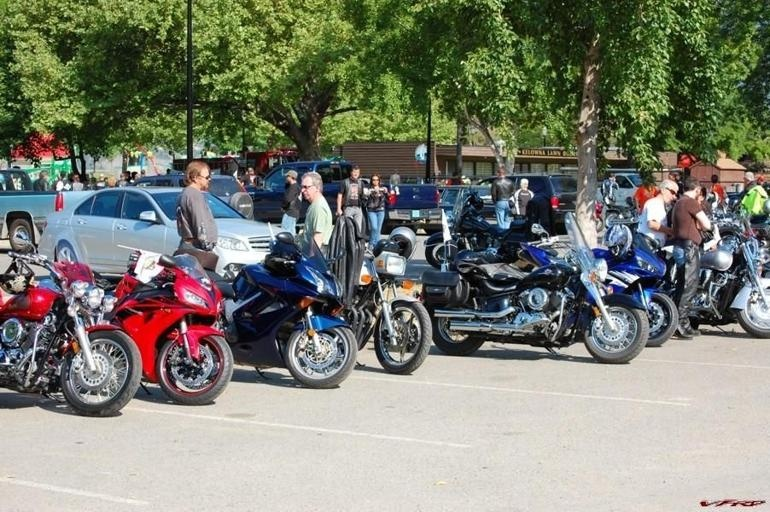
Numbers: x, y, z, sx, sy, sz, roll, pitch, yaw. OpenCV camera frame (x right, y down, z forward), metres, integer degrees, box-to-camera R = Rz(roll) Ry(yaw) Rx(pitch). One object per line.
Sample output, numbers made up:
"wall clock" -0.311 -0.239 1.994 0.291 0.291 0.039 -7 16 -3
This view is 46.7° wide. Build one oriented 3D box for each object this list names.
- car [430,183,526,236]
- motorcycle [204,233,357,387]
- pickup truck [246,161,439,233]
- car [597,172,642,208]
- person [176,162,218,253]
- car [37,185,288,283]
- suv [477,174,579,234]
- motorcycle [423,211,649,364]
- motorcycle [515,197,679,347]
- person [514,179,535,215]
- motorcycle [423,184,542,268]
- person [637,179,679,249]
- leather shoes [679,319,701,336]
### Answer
"car" 3.167 -1.573 29.659 2.721 1.291 1.646 2 1 -1
"motorcycle" -1.717 0.631 11.550 2.994 1.787 1.021 4 -9 30
"pickup truck" -1.220 -2.110 30.430 5.855 2.202 2.757 2 2 17
"car" 9.361 -2.478 34.065 1.262 1.382 2.442 -4 8 -28
"person" -2.749 -0.746 13.214 0.513 1.297 0.744 -6 10 -37
"car" -4.639 -0.548 17.595 5.265 1.848 2.316 -2 -1 36
"suv" 4.655 -1.830 30.419 3.801 1.718 2.014 3 4 22
"motorcycle" 2.253 0.417 13.142 2.914 1.974 1.890 0 3 18
"motorcycle" 3.269 0.381 14.239 2.553 1.727 1.438 1 0 25
"person" 4.014 -1.611 25.855 0.695 1.163 0.378 7 -27 -4
"motorcycle" 2.181 -0.477 20.183 2.599 1.599 1.359 0 7 2
"person" 4.817 -0.727 15.804 0.641 0.698 1.620 -2 -28 2
"leather shoes" 5.076 1.187 14.866 0.227 0.302 0.639 1 2 31
